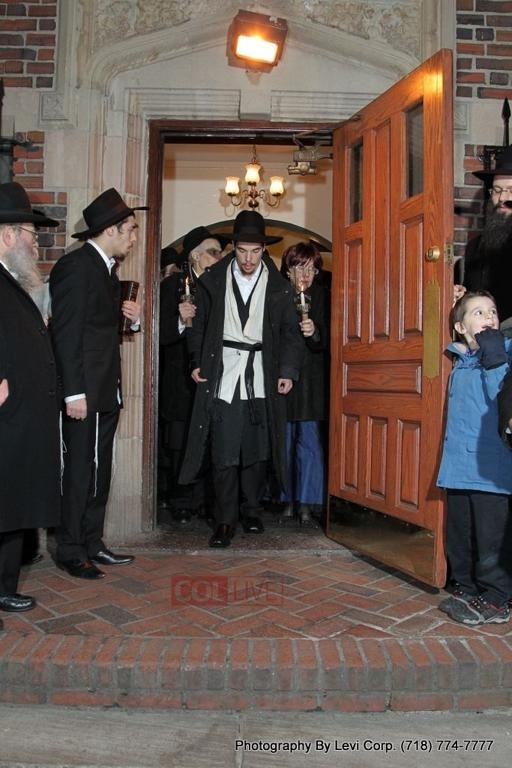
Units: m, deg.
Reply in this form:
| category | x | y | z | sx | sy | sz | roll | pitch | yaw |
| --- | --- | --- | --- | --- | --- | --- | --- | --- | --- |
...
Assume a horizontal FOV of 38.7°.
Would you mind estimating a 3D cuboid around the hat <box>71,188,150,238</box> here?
| category | x | y | z | sx | sy | sz | roll | pitch | yaw |
| --- | --- | --- | --- | --- | --- | --- | --- | --- | --- |
| hat | -0.744 | -0.848 | 3.676 | 0.429 | 0.139 | 0.345 | -5 | -7 | -17 |

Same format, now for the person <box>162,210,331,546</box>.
| category | x | y | z | sx | sy | sz | roll | pitch | yaw |
| --- | --- | --- | --- | --- | --- | --- | --- | --- | --- |
| person | -0.086 | 0.026 | 4.347 | 0.750 | 2.051 | 0.896 | 5 | 15 | 10 |

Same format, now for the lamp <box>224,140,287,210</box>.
| category | x | y | z | sx | sy | sz | roll | pitch | yaw |
| --- | --- | --- | --- | --- | --- | --- | --- | --- | --- |
| lamp | -0.043 | -2.618 | 9.285 | 0.714 | 0.792 | 1.727 | 2 | 14 | -3 |

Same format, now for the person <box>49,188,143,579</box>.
| category | x | y | z | sx | sy | sz | roll | pitch | yaw |
| --- | --- | --- | --- | --- | --- | --- | --- | --- | --- |
| person | -0.782 | 0.009 | 3.549 | 0.415 | 1.865 | 0.750 | 0 | 15 | -9 |

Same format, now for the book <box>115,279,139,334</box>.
| category | x | y | z | sx | sy | sz | roll | pitch | yaw |
| --- | --- | --- | --- | --- | --- | --- | --- | --- | --- |
| book | -0.676 | -0.398 | 3.777 | 0.056 | 0.209 | 0.224 | 1 | 2 | -28 |

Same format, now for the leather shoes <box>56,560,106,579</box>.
| category | x | y | z | sx | sy | sz | roll | pitch | yaw |
| --- | --- | --- | --- | --- | --- | --- | --- | --- | --- |
| leather shoes | -0.837 | 0.876 | 3.504 | 0.243 | 0.088 | 0.084 | -1 | 2 | 27 |

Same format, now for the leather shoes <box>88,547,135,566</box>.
| category | x | y | z | sx | sy | sz | roll | pitch | yaw |
| --- | --- | --- | --- | --- | --- | --- | --- | --- | --- |
| leather shoes | -0.720 | 0.872 | 3.697 | 0.262 | 0.083 | 0.081 | 1 | 2 | -1 |

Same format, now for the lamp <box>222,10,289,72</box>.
| category | x | y | z | sx | sy | sz | roll | pitch | yaw |
| --- | --- | --- | --- | --- | --- | --- | --- | --- | --- |
| lamp | -0.003 | -1.962 | 4.135 | 0.333 | 0.160 | 0.294 | 7 | -34 | -8 |

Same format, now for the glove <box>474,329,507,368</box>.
| category | x | y | z | sx | sy | sz | roll | pitch | yaw |
| --- | --- | --- | --- | --- | --- | --- | --- | --- | --- |
| glove | 0.931 | -0.139 | 2.895 | 0.140 | 0.146 | 0.066 | -7 | -21 | 2 |
